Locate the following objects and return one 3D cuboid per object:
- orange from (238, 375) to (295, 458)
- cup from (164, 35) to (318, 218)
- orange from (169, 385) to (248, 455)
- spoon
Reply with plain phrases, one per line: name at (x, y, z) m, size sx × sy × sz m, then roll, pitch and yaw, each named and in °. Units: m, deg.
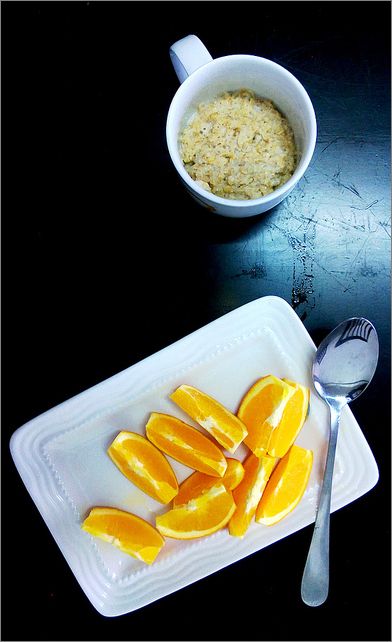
orange at (0.103, 0.143, 0.907) m, size 0.074 × 0.094 × 0.099 m, roll 26°, pitch 54°, yaw 20°
cup at (0.059, -0.223, 0.805) m, size 0.197 × 0.282 × 0.206 m, roll 0°, pitch 49°, yaw 0°
orange at (0.023, 0.152, 0.919) m, size 0.135 × 0.060 × 0.050 m, roll 31°, pitch 56°, yaw 22°
spoon at (0.234, 0.201, 0.959) m, size 0.099 × 0.055 × 0.529 m, roll 8°, pitch 94°, yaw 5°
